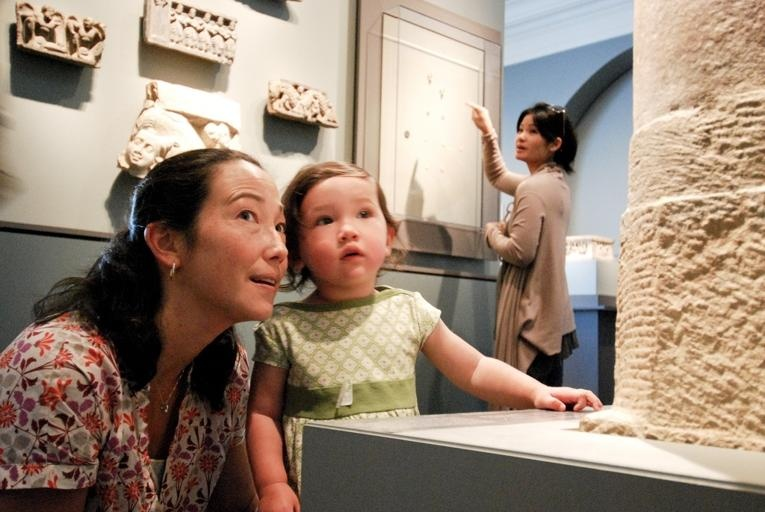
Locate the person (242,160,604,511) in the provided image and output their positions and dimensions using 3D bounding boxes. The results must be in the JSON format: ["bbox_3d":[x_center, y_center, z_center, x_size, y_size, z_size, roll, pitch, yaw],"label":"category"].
[{"bbox_3d":[-0.106,0.170,1.701,0.616,0.841,0.553,-8,10,-21],"label":"person"}]

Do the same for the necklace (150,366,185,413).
[{"bbox_3d":[-0.541,0.340,1.567,0.033,0.113,0.027,23,5,-37],"label":"necklace"}]
